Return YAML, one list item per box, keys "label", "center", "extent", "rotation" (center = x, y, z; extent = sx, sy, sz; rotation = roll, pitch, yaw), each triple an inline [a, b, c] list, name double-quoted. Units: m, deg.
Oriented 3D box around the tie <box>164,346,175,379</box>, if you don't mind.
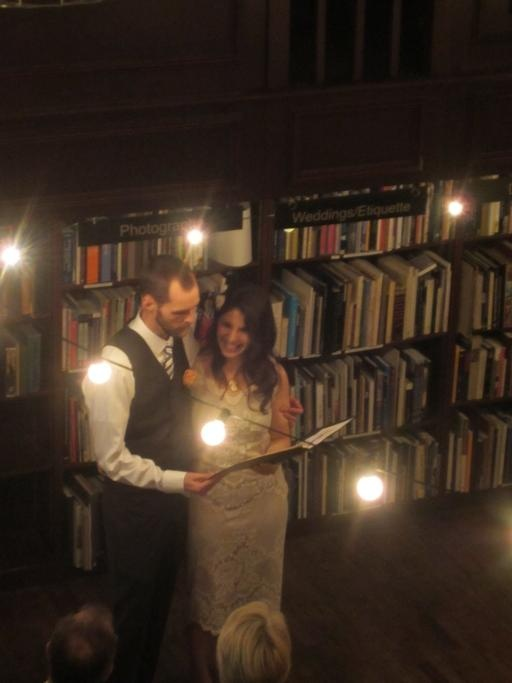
- label: "tie"
  center: [-0.277, 0.068, 2.302]
  extent: [0.015, 0.114, 0.063]
  rotation: [1, 6, 19]
